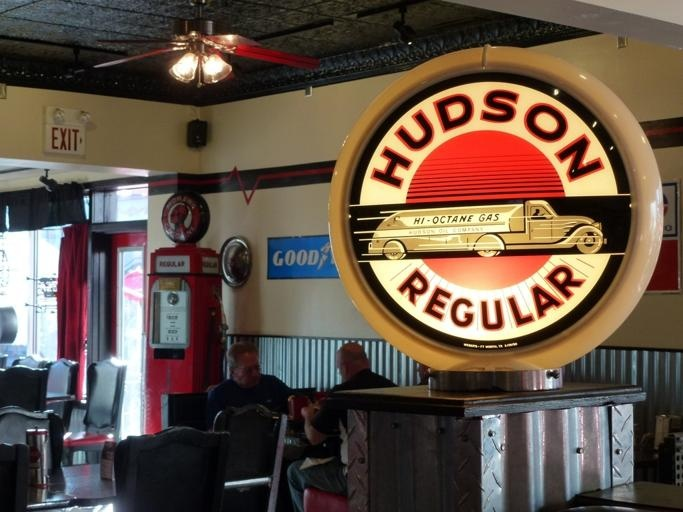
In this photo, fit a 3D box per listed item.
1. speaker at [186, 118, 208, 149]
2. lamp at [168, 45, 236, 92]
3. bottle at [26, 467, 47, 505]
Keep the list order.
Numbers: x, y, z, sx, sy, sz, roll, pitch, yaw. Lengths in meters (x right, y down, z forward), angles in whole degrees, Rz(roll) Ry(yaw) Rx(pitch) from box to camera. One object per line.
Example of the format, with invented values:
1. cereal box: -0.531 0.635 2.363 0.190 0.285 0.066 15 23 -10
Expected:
1. speaker: -1.320 -1.130 7.195 0.212 0.232 0.168 -15 -8 33
2. lamp: -0.851 -1.149 4.619 0.257 0.073 0.277 -16 -26 19
3. bottle: -1.298 0.989 3.324 0.083 0.157 0.174 -8 -7 -23
